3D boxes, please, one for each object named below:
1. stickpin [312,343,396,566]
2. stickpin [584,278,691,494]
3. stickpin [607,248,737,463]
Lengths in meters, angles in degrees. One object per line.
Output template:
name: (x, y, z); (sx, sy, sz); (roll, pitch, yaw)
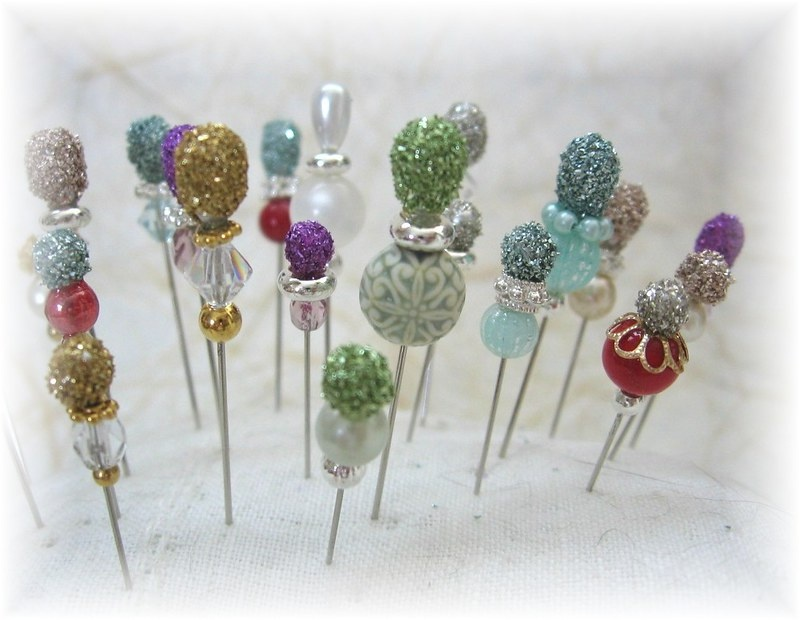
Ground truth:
stickpin: (-0.123, 0.381, 2.264); (0.173, 0.417, 0.239); (11, 4, 16)
stickpin: (0.627, 0.214, 2.407); (0.221, 0.517, 0.223); (11, 5, 25)
stickpin: (0.633, 0.115, 2.374); (0.192, 0.460, 0.155); (23, 17, 15)
